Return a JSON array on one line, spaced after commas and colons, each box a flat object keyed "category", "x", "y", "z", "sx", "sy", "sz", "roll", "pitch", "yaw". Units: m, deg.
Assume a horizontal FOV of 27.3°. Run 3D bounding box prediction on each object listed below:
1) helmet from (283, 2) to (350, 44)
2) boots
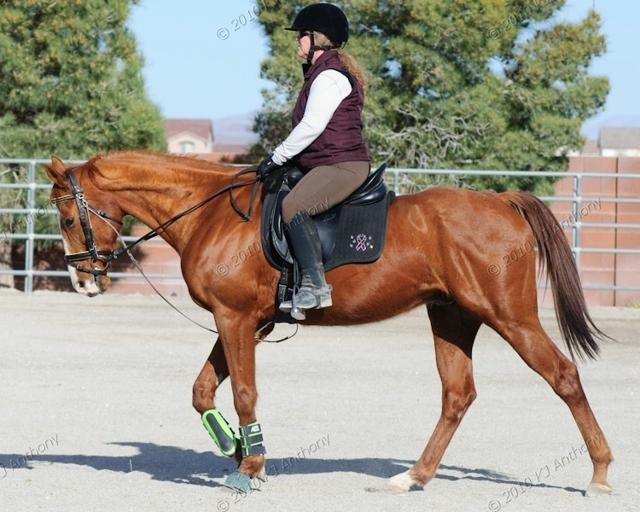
[{"category": "helmet", "x": -0.045, "y": -2.540, "z": 14.178, "sx": 0.637, "sy": 0.275, "sz": 0.413, "roll": 10, "pitch": 1, "yaw": -8}, {"category": "boots", "x": -0.136, "y": 0.098, "z": 13.727, "sx": 0.453, "sy": 1.069, "sz": 0.466, "roll": -2, "pitch": 13, "yaw": -3}]
